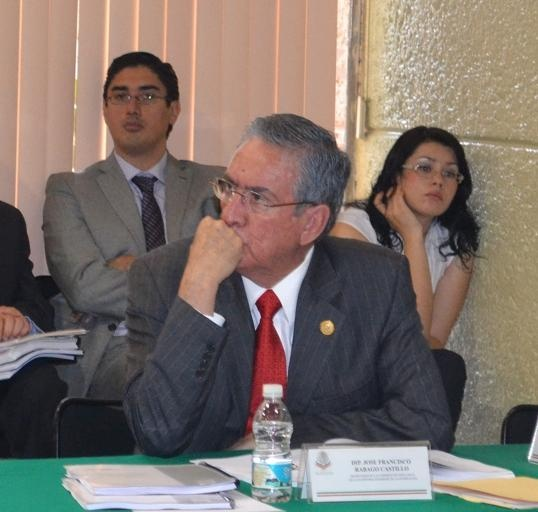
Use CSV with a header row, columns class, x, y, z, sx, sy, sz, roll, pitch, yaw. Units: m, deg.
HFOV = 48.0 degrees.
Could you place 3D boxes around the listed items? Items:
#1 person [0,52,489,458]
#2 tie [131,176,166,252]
class,x,y,z,sx,sy,sz,roll,pitch,yaw
person,0.033,0.030,1.496,0.745,0.774,0.542,0,7,-6
tie,-0.566,-0.209,2.879,0.147,0.500,0.124,-10,-29,-5
